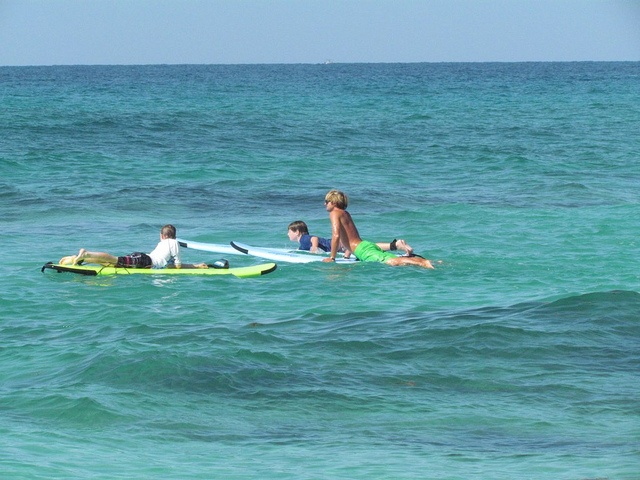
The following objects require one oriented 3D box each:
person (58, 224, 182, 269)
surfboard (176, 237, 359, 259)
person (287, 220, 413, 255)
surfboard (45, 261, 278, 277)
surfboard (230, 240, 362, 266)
[{"bbox_3d":[-4.273,0.300,24.992,3.170,0.854,0.776,-5,3,-21],"label":"person"},{"bbox_3d":[-1.230,0.215,27.112,4.638,0.245,0.504,2,-2,10],"label":"surfboard"},{"bbox_3d":[0.498,0.021,26.447,2.102,0.524,1.213,-1,-1,9],"label":"person"},{"bbox_3d":[-3.611,0.699,24.908,5.132,0.341,0.474,0,-9,-6],"label":"surfboard"},{"bbox_3d":[-0.646,0.374,26.574,3.280,0.311,0.823,3,4,25],"label":"surfboard"}]
